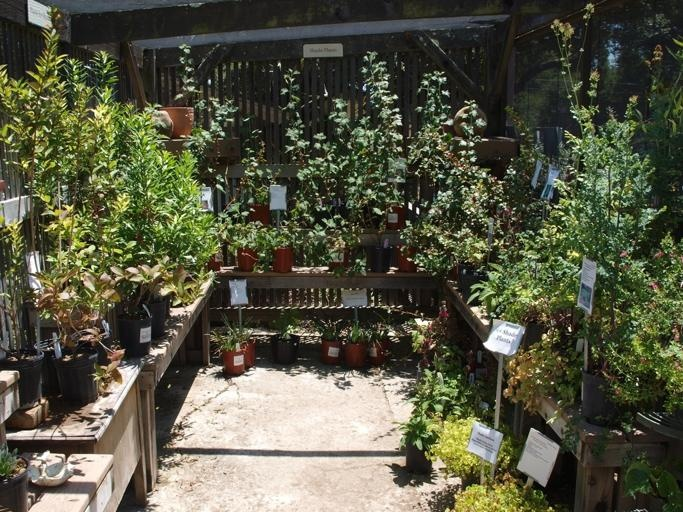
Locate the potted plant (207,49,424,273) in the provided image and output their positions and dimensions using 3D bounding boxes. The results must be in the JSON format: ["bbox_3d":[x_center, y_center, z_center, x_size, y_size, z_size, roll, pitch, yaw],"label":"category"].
[{"bbox_3d":[-0.154,-1.079,6.381,1.667,2.210,1.349,2,13,6],"label":"potted plant"}]

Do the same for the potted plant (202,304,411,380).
[{"bbox_3d":[-0.078,0.766,6.328,2.586,0.497,0.681,-1,-18,2],"label":"potted plant"}]

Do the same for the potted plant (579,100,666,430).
[{"bbox_3d":[1.419,0.000,3.080,0.527,1.557,0.800,5,13,21],"label":"potted plant"}]

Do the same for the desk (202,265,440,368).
[{"bbox_3d":[-0.184,0.482,6.565,2.695,0.658,0.478,2,7,-17],"label":"desk"}]

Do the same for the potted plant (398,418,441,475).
[{"bbox_3d":[0.506,1.323,4.167,0.326,0.368,0.345,0,8,0],"label":"potted plant"}]
